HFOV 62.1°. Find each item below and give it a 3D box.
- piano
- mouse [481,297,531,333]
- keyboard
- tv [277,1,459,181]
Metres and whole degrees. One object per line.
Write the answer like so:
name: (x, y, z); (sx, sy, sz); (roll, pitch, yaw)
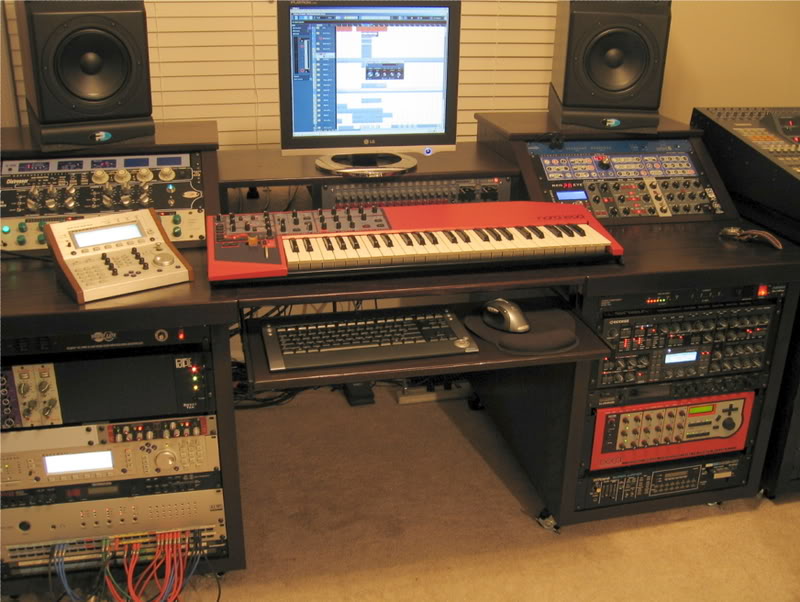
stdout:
piano: (0.052, -0.205, 2.209); (1.323, 0.212, 0.354); (-7, 21, -9)
mouse: (0.343, 0.052, 2.162); (0.118, 0.060, 0.197); (-8, 21, -19)
keyboard: (-0.095, 0.123, 2.035); (0.616, 0.098, 0.219); (-7, 20, -11)
tv: (-0.118, -0.776, 2.411); (0.860, 0.472, 0.098); (-2, 16, -11)
